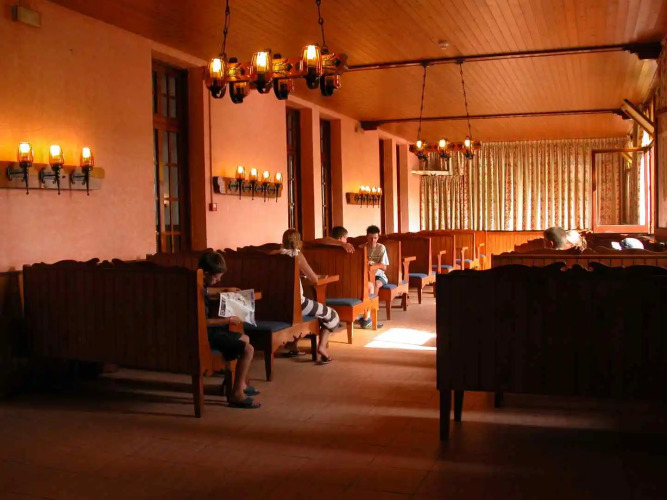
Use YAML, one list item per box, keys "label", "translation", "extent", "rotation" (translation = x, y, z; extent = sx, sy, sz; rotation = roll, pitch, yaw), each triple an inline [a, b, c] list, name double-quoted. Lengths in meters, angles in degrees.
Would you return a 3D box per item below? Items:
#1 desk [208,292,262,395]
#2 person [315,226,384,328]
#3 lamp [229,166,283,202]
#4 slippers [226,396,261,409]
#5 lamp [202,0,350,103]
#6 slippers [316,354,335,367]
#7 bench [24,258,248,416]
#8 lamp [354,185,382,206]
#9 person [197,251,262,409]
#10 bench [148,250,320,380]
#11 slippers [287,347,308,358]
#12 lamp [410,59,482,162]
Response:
- label: "desk"
  translation: [-0.990, 0.783, 5.388]
  extent: [0.561, 1.180, 0.418]
  rotation: [4, -16, -14]
- label: "person"
  translation: [0.209, 0.590, 8.914]
  extent: [0.913, 1.587, 1.155]
  rotation: [-10, -15, -1]
- label: "lamp"
  translation: [-1.273, -1.117, 9.824]
  extent: [0.357, 0.509, 1.612]
  rotation: [0, 5, 16]
- label: "slippers"
  translation: [-0.794, 1.374, 5.300]
  extent: [0.201, 0.072, 0.127]
  rotation: [0, -1, 7]
- label: "lamp"
  translation: [-0.712, -2.414, 6.892]
  extent: [1.204, 1.314, 0.697]
  rotation: [-2, 0, 8]
- label: "slippers"
  translation: [-0.086, 1.262, 6.648]
  extent: [0.209, 0.088, 0.077]
  rotation: [-1, 1, 7]
- label: "bench"
  translation: [-1.944, 0.729, 5.712]
  extent: [1.838, 1.363, 0.768]
  rotation: [3, 2, 9]
- label: "lamp"
  translation: [0.894, -1.336, 14.255]
  extent: [0.392, 0.490, 1.393]
  rotation: [0, 5, 14]
- label: "person"
  translation: [-0.946, 0.710, 5.351]
  extent: [0.496, 1.391, 0.487]
  rotation: [-2, 4, -11]
- label: "bench"
  translation: [-0.947, 0.644, 5.651]
  extent: [1.209, 0.874, 0.478]
  rotation: [3, 4, 32]
- label: "slippers"
  translation: [-0.471, 1.220, 7.045]
  extent: [0.300, 0.164, 0.102]
  rotation: [-5, -3, 13]
- label: "lamp"
  translation: [2.228, -2.810, 11.619]
  extent: [1.305, 1.926, 1.244]
  rotation: [2, 4, 23]
